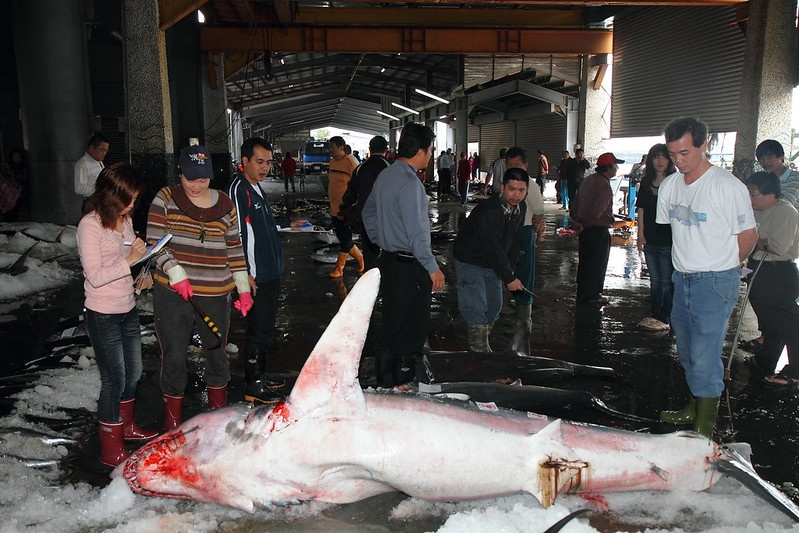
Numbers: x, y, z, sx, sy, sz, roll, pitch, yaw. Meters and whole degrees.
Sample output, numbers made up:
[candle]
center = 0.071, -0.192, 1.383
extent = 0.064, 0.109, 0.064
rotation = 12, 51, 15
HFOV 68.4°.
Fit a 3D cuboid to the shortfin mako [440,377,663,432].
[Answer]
[shortfin mako]
center = 1.448, 1.355, 5.952
extent = 2.176, 0.775, 0.449
rotation = 9, -19, -16
